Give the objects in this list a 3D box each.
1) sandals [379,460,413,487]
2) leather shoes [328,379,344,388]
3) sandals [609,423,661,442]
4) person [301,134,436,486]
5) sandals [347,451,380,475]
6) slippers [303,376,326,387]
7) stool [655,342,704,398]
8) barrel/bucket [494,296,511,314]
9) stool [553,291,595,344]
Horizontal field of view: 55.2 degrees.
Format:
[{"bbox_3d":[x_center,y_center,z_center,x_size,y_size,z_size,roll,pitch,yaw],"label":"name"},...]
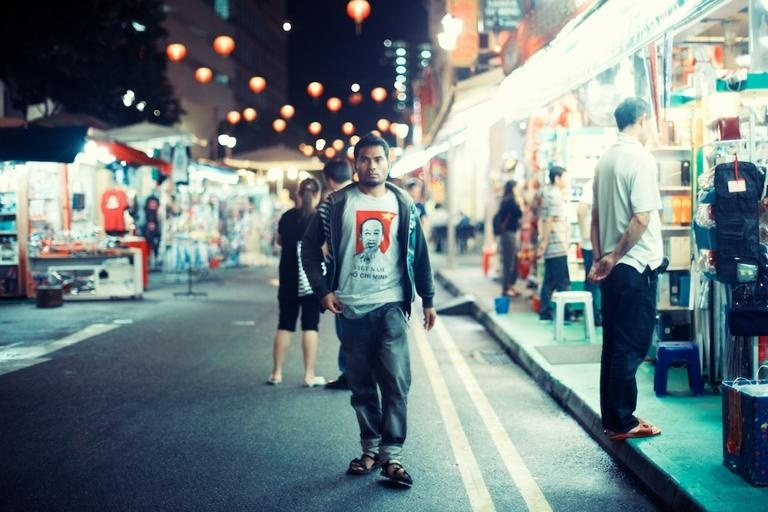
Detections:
[{"bbox_3d":[0.095,2.070,6.978,0.163,0.154,0.349,4,-7,-31],"label":"sandals"},{"bbox_3d":[-0.617,1.627,9.339,0.232,0.105,0.088,3,-3,14],"label":"leather shoes"},{"bbox_3d":[2.530,1.785,7.426,0.397,0.120,0.214,-8,-1,3],"label":"sandals"},{"bbox_3d":[-0.164,0.448,7.245,1.204,3.236,0.931,2,11,16],"label":"person"},{"bbox_3d":[-0.209,2.027,7.190,0.154,0.129,0.333,0,-4,36],"label":"sandals"},{"bbox_3d":[-0.906,1.610,9.430,0.294,0.132,0.112,-11,15,-30],"label":"slippers"},{"bbox_3d":[3.433,1.327,8.777,0.573,0.566,0.591,-3,4,0],"label":"stool"},{"bbox_3d":[2.082,0.888,13.327,0.281,0.269,0.270,1,-8,0],"label":"barrel/bucket"},{"bbox_3d":[2.854,0.926,11.199,0.686,0.796,0.690,0,0,14],"label":"stool"}]
